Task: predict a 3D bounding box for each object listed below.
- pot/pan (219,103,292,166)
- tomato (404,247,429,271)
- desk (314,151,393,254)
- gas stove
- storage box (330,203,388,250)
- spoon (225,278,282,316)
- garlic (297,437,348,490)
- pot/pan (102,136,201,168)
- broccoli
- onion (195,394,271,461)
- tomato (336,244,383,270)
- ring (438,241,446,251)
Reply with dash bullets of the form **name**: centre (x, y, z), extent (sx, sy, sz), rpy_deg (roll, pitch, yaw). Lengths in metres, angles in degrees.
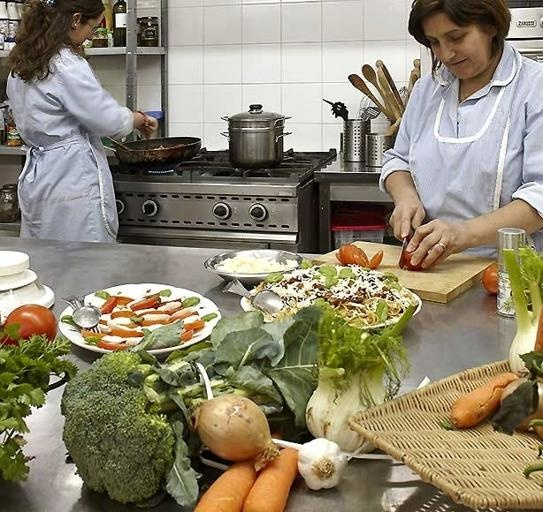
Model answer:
- **pot/pan**: centre (-0.053, -0.716, 2.621), extent (0.419, 0.362, 0.378), rpy_deg (2, 17, 10)
- **tomato**: centre (0.412, 0.009, 1.258), extent (0.062, 0.056, 0.056), rpy_deg (0, 41, 5)
- **desk**: centre (0.453, -0.317, 2.523), extent (0.449, 0.528, 0.384), rpy_deg (1, 14, 7)
- **gas stove**: centre (-0.145, -0.508, 3.154), extent (1.676, 0.470, 1.240), rpy_deg (2, 14, 9)
- **storage box**: centre (0.517, -0.207, 2.623), extent (0.336, 0.268, 0.266), rpy_deg (3, 15, 13)
- **spoon**: centre (-0.028, 0.084, 0.937), extent (0.091, 0.054, 0.096), rpy_deg (8, 14, 39)
- **garlic**: centre (0.051, 0.216, 0.450), extent (0.054, 0.047, 0.054), rpy_deg (1, 9, -4)
- **pot/pan**: centre (-0.646, -0.693, 2.723), extent (0.475, 0.228, 0.624), rpy_deg (-16, 19, -32)
- **broccoli**: centre (-0.134, 0.176, 0.483), extent (0.119, 0.134, 0.141), rpy_deg (-1, 15, -11)
- **onion**: centre (-0.040, 0.171, 0.433), extent (0.077, 0.057, 0.054), rpy_deg (24, 32, -6)
- **tomato**: centre (0.249, 0.012, 1.284), extent (0.101, 0.058, 0.087), rpy_deg (6, -4, 18)
- **ring**: centre (0.481, -0.027, 1.246), extent (0.021, 0.008, 0.023), rpy_deg (27, 21, -11)
